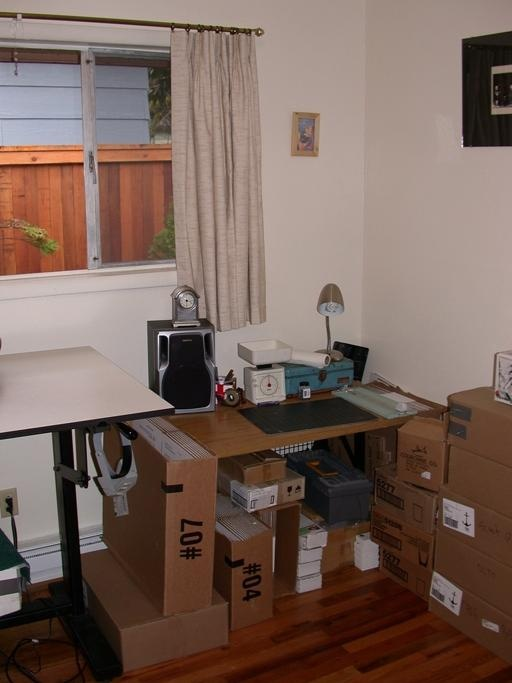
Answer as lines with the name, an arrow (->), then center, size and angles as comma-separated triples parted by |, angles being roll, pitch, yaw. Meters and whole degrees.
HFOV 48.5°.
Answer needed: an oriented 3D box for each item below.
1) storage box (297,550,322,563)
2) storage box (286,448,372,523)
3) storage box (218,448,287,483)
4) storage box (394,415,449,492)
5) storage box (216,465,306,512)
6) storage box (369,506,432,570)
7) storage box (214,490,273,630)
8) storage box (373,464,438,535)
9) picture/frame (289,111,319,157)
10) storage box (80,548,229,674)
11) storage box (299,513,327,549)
storage box -> 0.209, 0.834, 2.203 | 0.082, 0.035, 0.057 | 0, -8, -30
storage box -> 0.334, 0.536, 2.373 | 0.228, 0.170, 0.401 | -5, 11, -19
storage box -> -0.016, 0.457, 2.073 | 0.193, 0.069, 0.191 | -1, 3, -28
storage box -> 0.625, 0.409, 2.079 | 0.107, 0.285, 0.253 | -2, 5, -22
storage box -> 0.045, 0.510, 2.098 | 0.192, 0.071, 0.201 | -6, 14, -32
storage box -> 0.557, 0.755, 2.189 | 0.162, 0.106, 0.221 | 0, 7, -30
storage box -> -0.064, 0.821, 2.090 | 0.198, 0.358, 0.312 | -2, 5, -24
storage box -> 0.569, 0.621, 2.140 | 0.151, 0.135, 0.260 | -4, 10, -26
picture/frame -> 0.222, -0.994, 2.704 | 0.211, 0.237, 0.017 | -7, 15, -32
storage box -> -0.312, 0.858, 1.823 | 0.234, 0.081, 0.343 | 2, 12, -34
storage box -> 0.222, 0.752, 2.220 | 0.103, 0.044, 0.136 | -2, 7, -25
